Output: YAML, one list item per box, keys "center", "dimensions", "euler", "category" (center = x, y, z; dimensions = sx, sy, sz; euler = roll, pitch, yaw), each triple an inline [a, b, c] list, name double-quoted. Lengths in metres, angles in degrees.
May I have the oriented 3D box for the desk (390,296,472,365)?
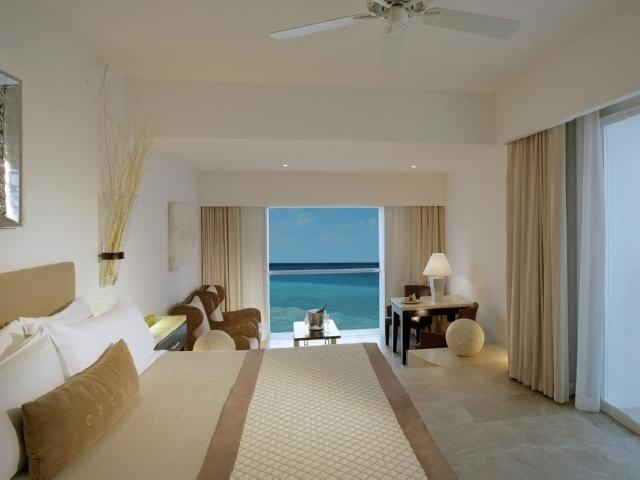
- center: [1.430, 1.140, 5.801]
  dimensions: [0.850, 0.747, 0.713]
  euler: [-2, 3, -4]
  category: "desk"

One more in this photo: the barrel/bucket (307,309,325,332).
- center: [-0.037, 0.966, 5.465]
  dimensions: [0.242, 0.236, 0.190]
  euler: [-2, 3, -25]
  category: "barrel/bucket"

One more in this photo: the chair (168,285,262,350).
- center: [-1.156, 0.921, 5.292]
  dimensions: [0.651, 0.741, 1.142]
  euler: [-1, 0, -6]
  category: "chair"

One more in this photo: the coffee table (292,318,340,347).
- center: [-0.041, 1.109, 5.413]
  dimensions: [0.396, 0.429, 0.422]
  euler: [0, 3, -4]
  category: "coffee table"
